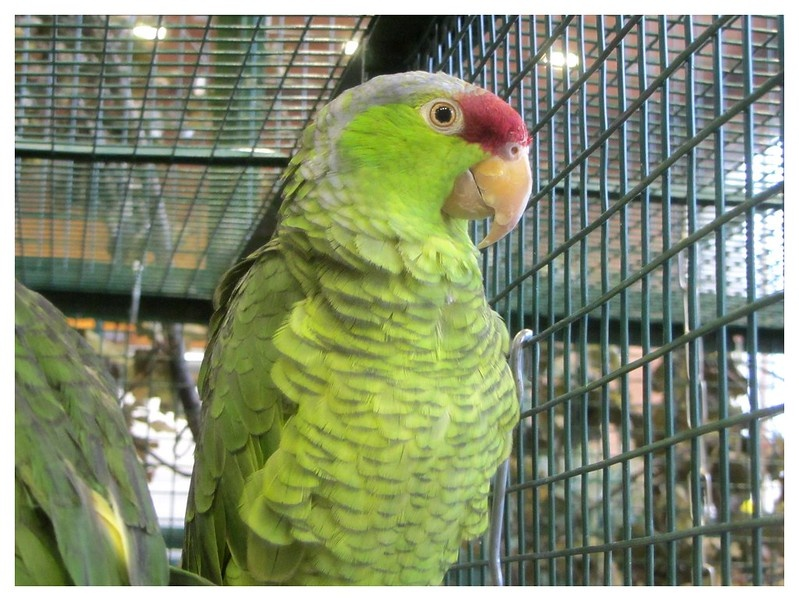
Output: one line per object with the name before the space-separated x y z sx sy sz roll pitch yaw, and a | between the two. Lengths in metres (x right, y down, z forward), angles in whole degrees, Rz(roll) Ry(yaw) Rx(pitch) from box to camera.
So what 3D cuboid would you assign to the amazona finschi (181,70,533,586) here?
amazona finschi | -0.144 0.230 2.398 0.586 1.423 1.007 7 -8 -32
